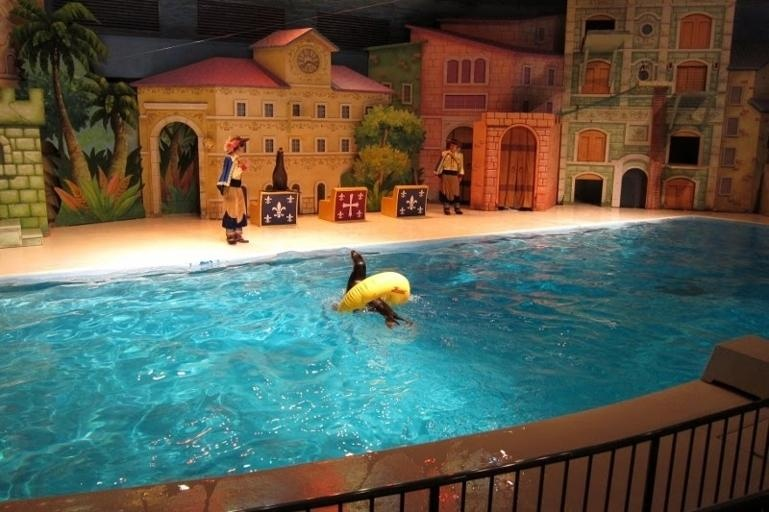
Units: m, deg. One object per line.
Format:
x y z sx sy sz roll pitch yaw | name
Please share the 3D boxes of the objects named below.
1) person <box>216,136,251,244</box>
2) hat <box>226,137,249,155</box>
-3.983 -1.718 13.490 0.737 2.738 0.828 -4 11 -14 | person
-3.817 -2.881 13.233 0.363 0.424 0.746 1 10 16 | hat
